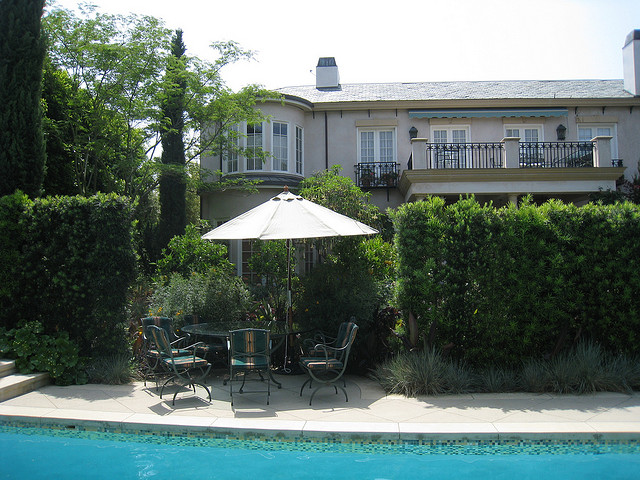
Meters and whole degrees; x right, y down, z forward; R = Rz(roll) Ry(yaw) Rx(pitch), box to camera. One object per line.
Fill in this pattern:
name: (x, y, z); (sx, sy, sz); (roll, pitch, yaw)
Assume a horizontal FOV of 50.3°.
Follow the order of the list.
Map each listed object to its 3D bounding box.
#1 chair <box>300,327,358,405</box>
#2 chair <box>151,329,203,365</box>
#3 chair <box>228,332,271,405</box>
chair: (0.125, 2.831, 16.014); (1.238, 1.633, 1.867); (0, 1, -7)
chair: (-3.343, 2.427, 15.659); (1.003, 0.804, 0.562); (0, 2, -17)
chair: (-1.632, 2.901, 15.756); (0.902, 1.698, 1.095); (-1, -6, -2)
